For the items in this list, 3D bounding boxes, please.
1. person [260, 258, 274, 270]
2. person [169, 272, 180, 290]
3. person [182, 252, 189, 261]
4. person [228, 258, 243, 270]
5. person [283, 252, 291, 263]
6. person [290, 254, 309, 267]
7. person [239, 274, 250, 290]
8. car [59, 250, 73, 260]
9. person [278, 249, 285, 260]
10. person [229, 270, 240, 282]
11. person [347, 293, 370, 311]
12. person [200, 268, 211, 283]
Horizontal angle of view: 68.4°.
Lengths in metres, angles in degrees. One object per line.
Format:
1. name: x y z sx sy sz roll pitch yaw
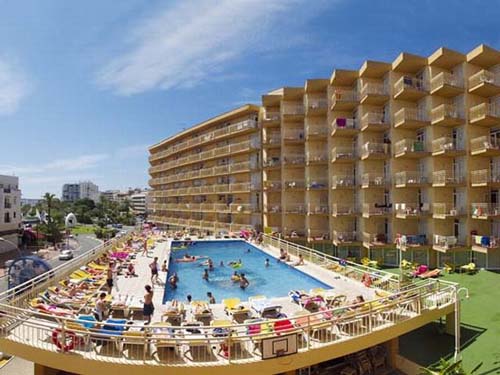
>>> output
1. person: 1.404 6.386 30.823 0.884 0.707 0.282 -2 1 -41
2. person: -5.473 6.532 25.986 0.691 1.028 1.634 -1 -4 -12
3. person: -5.737 6.150 32.495 0.563 0.502 0.918 -1 -4 -10
4. person: -1.222 6.529 31.072 0.675 0.320 0.919 6 10 37
5. person: 3.067 5.724 30.351 0.664 0.844 0.598 1 -5 -1
6. person: 3.833 5.710 28.846 0.997 0.463 0.879 2 -2 -20
7. person: -0.452 6.714 26.817 0.659 1.028 1.836 -2 -4 -1
8. car: -25.571 9.236 50.319 1.363 0.859 2.015 -1 -5 -7
9. person: 2.829 5.586 30.834 0.697 0.845 0.915 0 1 42
10. person: -1.199 6.702 27.687 0.638 0.264 0.781 -2 8 -16
11. person: 5.778 6.128 19.307 1.334 0.361 0.942 -3 3 -23
12. person: -3.477 6.797 28.327 0.728 0.367 0.891 5 -37 0
